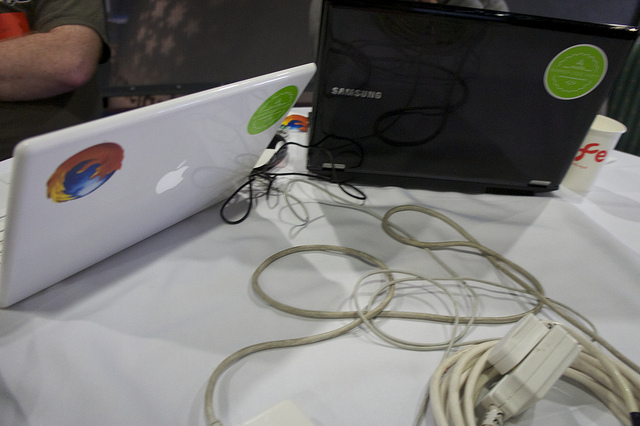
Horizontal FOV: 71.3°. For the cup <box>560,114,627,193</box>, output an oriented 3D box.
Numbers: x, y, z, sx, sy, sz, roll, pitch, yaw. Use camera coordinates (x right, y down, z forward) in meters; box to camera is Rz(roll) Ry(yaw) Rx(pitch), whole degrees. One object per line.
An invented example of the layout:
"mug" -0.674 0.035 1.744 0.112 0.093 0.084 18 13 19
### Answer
"cup" 0.688 -0.146 1.126 0.103 0.197 0.115 13 14 14
